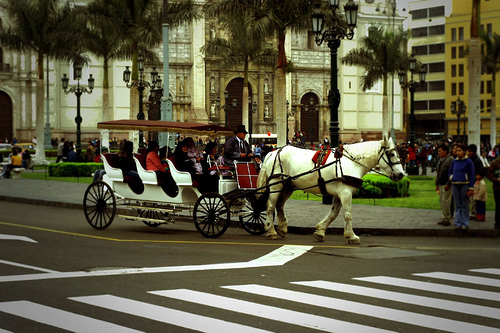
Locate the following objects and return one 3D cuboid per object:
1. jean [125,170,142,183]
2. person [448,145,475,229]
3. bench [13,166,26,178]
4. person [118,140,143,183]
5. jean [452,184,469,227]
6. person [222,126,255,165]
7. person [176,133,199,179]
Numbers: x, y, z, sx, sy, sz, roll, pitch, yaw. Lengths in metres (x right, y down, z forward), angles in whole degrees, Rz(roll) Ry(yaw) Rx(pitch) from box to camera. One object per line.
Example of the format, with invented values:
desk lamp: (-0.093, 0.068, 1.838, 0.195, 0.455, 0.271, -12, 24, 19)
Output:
jean: (-3.803, 0.276, 24.028, 0.430, 0.144, 0.424, 8, 9, 0)
person: (6.687, 0.614, 23.331, 0.701, 2.613, 0.895, 1, 7, 9)
bench: (-13.287, 0.285, 42.401, 0.767, 0.496, 0.518, -1, 7, -25)
person: (-4.003, -0.258, 24.226, 0.652, 1.166, 1.028, -2, 7, -11)
jean: (6.599, 1.184, 23.165, 0.512, 1.307, 0.367, 1, 8, 15)
person: (-0.358, -0.488, 23.639, 0.948, 1.655, 0.933, 0, 9, -10)
person: (-1.979, -0.313, 23.277, 0.697, 1.208, 1.387, -1, 7, -5)
